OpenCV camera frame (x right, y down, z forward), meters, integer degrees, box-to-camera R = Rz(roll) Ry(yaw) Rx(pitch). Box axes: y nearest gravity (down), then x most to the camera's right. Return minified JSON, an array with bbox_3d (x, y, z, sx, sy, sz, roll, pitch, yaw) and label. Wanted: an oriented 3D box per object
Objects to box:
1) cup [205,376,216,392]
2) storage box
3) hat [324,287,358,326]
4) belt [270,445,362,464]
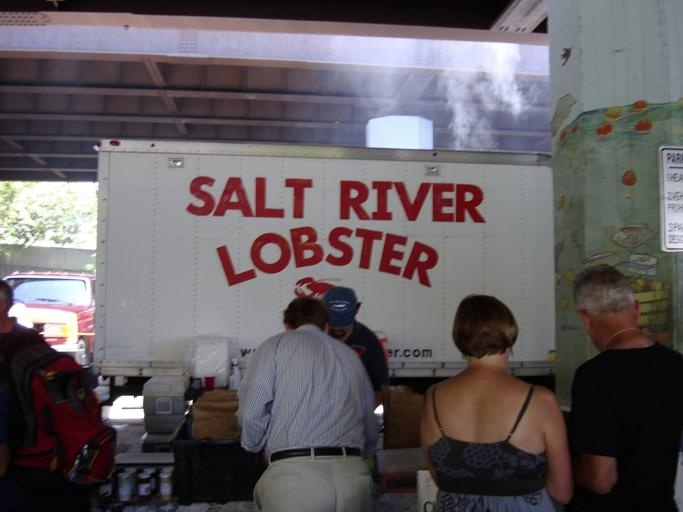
[{"bbox_3d":[-1.390,1.333,7.770,0.123,0.148,0.126,-1,1,0],"label":"cup"},{"bbox_3d":[-1.845,1.637,7.776,0.475,0.767,0.811,0,-1,-3],"label":"storage box"},{"bbox_3d":[0.001,0.420,6.672,0.257,0.191,0.364,3,21,2],"label":"hat"},{"bbox_3d":[-0.203,1.490,5.626,0.691,0.114,0.113,-1,-3,-7],"label":"belt"}]
